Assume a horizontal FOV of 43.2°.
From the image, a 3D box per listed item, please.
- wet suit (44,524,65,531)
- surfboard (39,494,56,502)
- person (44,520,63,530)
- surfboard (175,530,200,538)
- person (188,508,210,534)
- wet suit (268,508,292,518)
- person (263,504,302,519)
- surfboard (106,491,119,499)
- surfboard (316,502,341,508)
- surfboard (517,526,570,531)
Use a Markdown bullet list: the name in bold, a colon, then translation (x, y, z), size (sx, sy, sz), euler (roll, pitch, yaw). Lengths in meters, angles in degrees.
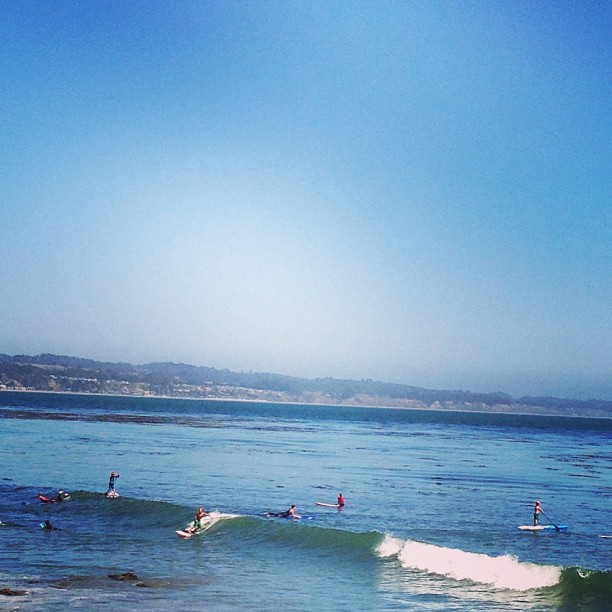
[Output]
- **wet suit**: translation (-13.020, 11.412, 39.972), size (1.015, 0.259, 0.307), euler (11, -22, 9)
- **surfboard**: translation (-15.664, 11.612, 46.852), size (0.886, 0.290, 0.882), euler (8, -8, -31)
- **person**: translation (-13.094, 11.286, 40.020), size (0.814, 0.409, 1.209), euler (6, -7, -16)
- **surfboard**: translation (-6.245, 12.040, 40.920), size (1.199, 0.234, 0.802), euler (5, -7, -8)
- **person**: translation (-5.877, 11.547, 41.951), size (0.640, 1.158, 1.666), euler (2, -7, 10)
- **wet suit**: translation (-1.445, 12.340, 45.995), size (0.857, 0.316, 0.548), euler (-4, -22, -8)
- **person**: translation (-1.378, 12.341, 46.099), size (1.422, 0.591, 0.960), euler (1, 1, 6)
- **surfboard**: translation (-11.772, 11.507, 47.200), size (0.705, 0.386, 0.972), euler (6, -8, -20)
- **surfboard**: translation (1.484, 13.216, 51.545), size (1.416, 0.211, 0.298), euler (2, 14, 27)
- **surfboard**: translation (14.425, 13.457, 47.036), size (3.620, 0.181, 0.906), euler (7, -8, -25)
